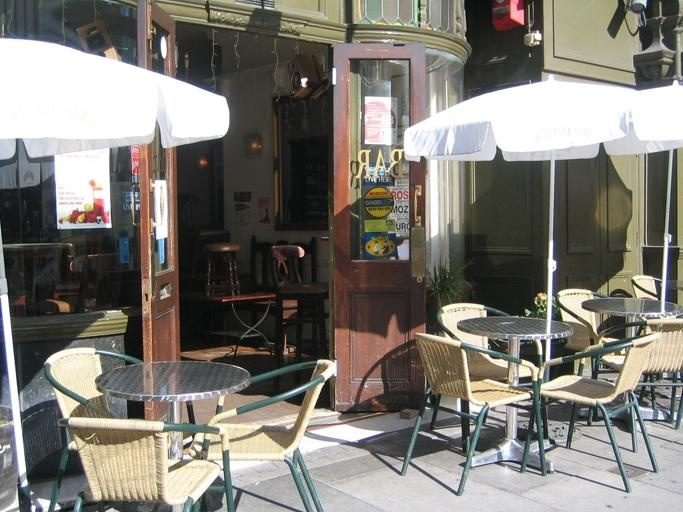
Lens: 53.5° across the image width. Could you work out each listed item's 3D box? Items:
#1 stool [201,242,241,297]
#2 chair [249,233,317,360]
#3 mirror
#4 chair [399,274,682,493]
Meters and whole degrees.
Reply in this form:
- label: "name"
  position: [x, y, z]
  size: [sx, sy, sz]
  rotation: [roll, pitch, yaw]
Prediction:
- label: "stool"
  position: [-1.478, 0.123, 8.300]
  size: [0.401, 0.674, 0.427]
  rotation: [2, 14, -3]
- label: "chair"
  position: [-0.661, 0.479, 7.616]
  size: [0.659, 1.249, 2.621]
  rotation: [-1, 7, -8]
- label: "mirror"
  position: [-0.499, -1.172, 8.708]
  size: [0.836, 1.846, 0.077]
  rotation: [-10, 21, -29]
- label: "chair"
  position: [1.566, 0.935, 4.633]
  size: [1.273, 0.907, 1.231]
  rotation: [-2, -9, 20]
